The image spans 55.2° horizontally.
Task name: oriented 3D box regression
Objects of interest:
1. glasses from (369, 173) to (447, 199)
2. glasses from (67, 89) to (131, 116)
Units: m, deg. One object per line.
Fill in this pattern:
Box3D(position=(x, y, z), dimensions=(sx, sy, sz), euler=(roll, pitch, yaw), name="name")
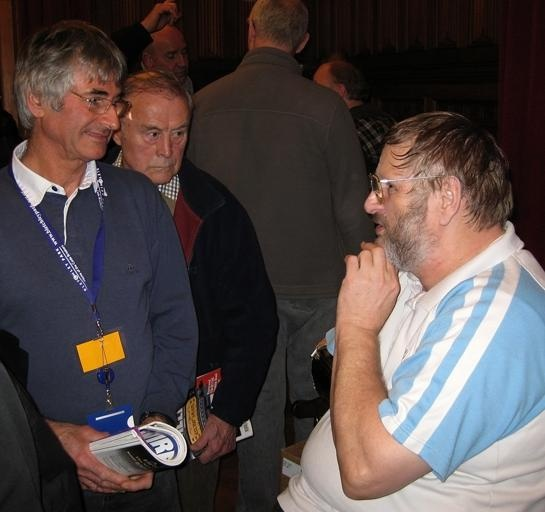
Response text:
Box3D(position=(0.375, -0.196, 1.491), dimensions=(0.061, 0.070, 0.233), euler=(-7, 11, -33), name="glasses")
Box3D(position=(-0.491, -0.449, 1.553), dimensions=(0.081, 0.063, 0.215), euler=(3, 10, 18), name="glasses")
